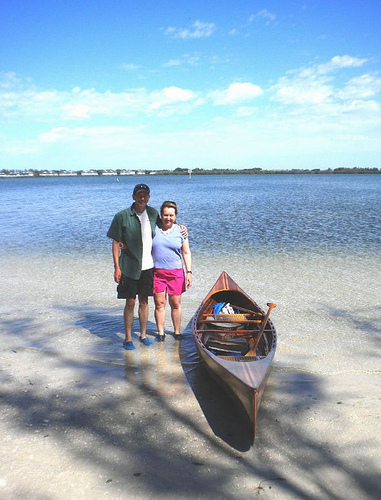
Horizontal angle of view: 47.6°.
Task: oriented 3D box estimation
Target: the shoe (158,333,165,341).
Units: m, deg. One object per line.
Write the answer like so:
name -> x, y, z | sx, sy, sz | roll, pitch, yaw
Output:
shoe -> -0.389, 1.172, 5.754 | 0.080, 0.072, 0.075 | 6, -2, -26

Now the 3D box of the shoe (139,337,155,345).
shoe -> -0.558, 1.192, 5.664 | 0.199, 0.094, 0.174 | 0, 6, -22

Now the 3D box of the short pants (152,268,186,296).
short pants -> -0.304, 0.359, 5.411 | 0.567, 0.423, 0.305 | -1, 9, -9

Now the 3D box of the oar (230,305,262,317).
oar -> 0.812, 0.847, 5.942 | 0.068, 0.067, 0.484 | -37, 26, -32

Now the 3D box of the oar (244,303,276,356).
oar -> 0.755, 0.900, 4.661 | 0.197, 0.054, 1.045 | 8, 29, 19

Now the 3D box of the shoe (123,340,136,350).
shoe -> -0.796, 1.211, 5.516 | 0.162, 0.118, 0.177 | 3, 6, -1

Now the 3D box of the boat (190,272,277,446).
boat -> 0.481, 1.049, 5.134 | 0.796, 0.603, 3.428 | 1, 12, 0

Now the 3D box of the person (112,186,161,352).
person -> -0.669, 0.272, 5.188 | 0.439, 2.064, 0.677 | 5, 7, 14

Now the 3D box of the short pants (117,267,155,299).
short pants -> -0.676, 0.360, 5.161 | 0.505, 0.416, 0.280 | 1, -3, -30
